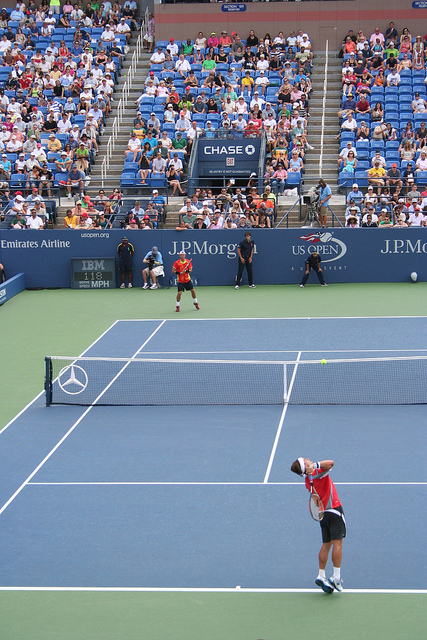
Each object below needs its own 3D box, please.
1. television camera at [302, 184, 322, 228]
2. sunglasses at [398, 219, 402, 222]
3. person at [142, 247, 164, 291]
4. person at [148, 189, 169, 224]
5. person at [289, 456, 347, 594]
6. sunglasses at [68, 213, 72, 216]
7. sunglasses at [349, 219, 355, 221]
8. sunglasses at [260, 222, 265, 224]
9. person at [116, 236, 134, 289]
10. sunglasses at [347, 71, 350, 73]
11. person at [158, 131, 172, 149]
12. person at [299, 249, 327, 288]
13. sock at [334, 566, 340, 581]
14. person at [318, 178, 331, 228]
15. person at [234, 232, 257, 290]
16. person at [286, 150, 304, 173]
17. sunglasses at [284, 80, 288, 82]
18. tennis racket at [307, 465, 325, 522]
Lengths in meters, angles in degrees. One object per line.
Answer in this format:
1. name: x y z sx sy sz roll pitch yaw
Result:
1. television camera: 2.863 -3.252 23.209 0.521 1.180 0.741 8 23 29
2. sunglasses: 5.450 -2.890 23.298 0.072 0.063 0.079 1 -1 17
3. person: -1.792 -1.517 23.439 0.527 1.297 0.844 -10 14 -34
4. person: -1.748 -3.477 24.789 0.458 1.020 1.105 0 12 5
5. person: 1.135 1.823 8.272 0.485 1.445 2.003 1 12 11
6. sunglasses: -4.387 -3.199 24.256 0.072 0.062 0.206 3 13 21
7. sunglasses: 4.024 -2.895 23.199 0.129 0.039 0.033 -3 12 -4
8. sunglasses: 1.447 -2.873 23.778 0.131 0.041 0.022 -2 12 1
9. person: -2.602 -1.686 23.654 0.462 1.568 0.588 -3 12 -6
10. sunglasses: 5.015 -9.192 29.644 0.099 0.111 0.057 2 19 4
11. person: -1.647 -6.015 26.806 0.446 0.565 1.136 -2 12 -2
12. person: 2.827 -1.450 22.814 0.872 1.391 0.852 -2 15 -8
13. sock: 1.150 2.359 7.425 0.047 0.151 0.079 0 12 10
14. person: 3.245 -3.409 23.428 0.323 1.446 1.702 1 12 12
15. person: 0.917 -1.696 23.058 0.650 1.729 1.375 -1 12 3
16. person: 2.673 -5.104 25.847 0.535 0.857 0.705 1 2 15
17. sunglasses: 2.643 -8.661 29.010 0.140 0.038 0.099 -17 7 -37
18. tennis racket: 0.957 1.642 7.540 0.098 0.463 0.263 -11 -22 2
